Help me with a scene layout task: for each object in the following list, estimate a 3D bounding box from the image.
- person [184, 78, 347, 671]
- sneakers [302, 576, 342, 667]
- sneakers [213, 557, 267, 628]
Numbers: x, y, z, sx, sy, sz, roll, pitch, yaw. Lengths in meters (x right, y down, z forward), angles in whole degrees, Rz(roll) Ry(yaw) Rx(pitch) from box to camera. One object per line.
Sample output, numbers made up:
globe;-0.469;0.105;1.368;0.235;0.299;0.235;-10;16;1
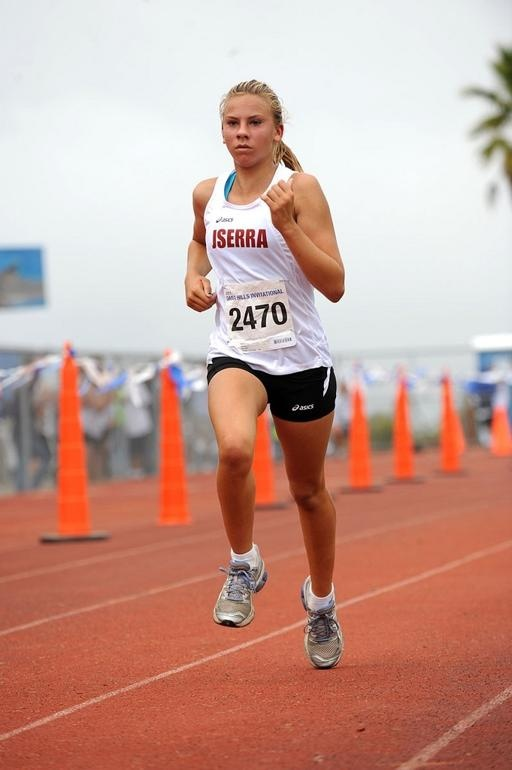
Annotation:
person;0.047;0.018;2.082;0.456;1.231;0.650;-4;2;-5
sneakers;0.204;0.726;2.272;0.093;0.249;0.109;-5;-9;-1
sneakers;-0.045;0.597;2.147;0.114;0.129;0.309;5;21;9
